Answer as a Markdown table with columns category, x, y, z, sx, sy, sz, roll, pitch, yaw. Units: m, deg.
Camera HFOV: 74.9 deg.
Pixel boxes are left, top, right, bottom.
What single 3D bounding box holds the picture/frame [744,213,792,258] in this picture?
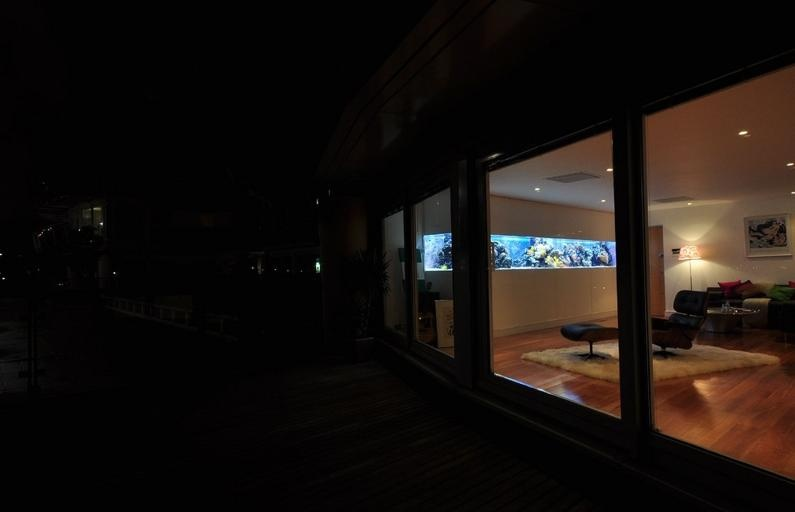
| category | x | y | z | sx | sy | sz | roll | pitch | yaw |
| --- | --- | --- | --- | --- | --- | --- | --- | --- | --- |
| picture/frame | 5.950 | -0.332 | 8.291 | 0.035 | 0.776 | 0.709 | -1 | 0 | -28 |

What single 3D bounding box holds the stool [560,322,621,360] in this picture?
| category | x | y | z | sx | sy | sz | roll | pitch | yaw |
| --- | --- | --- | --- | --- | --- | --- | --- | --- | --- |
| stool | 3.321 | 1.481 | 8.911 | 0.780 | 0.559 | 1.076 | -3 | -4 | -3 |

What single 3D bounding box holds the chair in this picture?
| category | x | y | z | sx | sy | sz | roll | pitch | yaw |
| --- | --- | --- | --- | --- | --- | --- | --- | --- | --- |
| chair | 4.501 | 1.096 | 8.664 | 1.135 | 1.016 | 0.754 | 4 | -1 | -17 |

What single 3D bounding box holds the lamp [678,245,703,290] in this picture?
| category | x | y | z | sx | sy | sz | roll | pitch | yaw |
| --- | --- | --- | --- | --- | --- | --- | --- | --- | --- |
| lamp | 5.142 | 0.198 | 9.184 | 0.564 | 0.631 | 0.197 | -1 | 0 | -30 |

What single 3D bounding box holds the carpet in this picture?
| category | x | y | z | sx | sy | sz | roll | pitch | yaw |
| --- | --- | --- | --- | --- | --- | --- | --- | --- | --- |
| carpet | 4.104 | 1.699 | 8.557 | 3.751 | 0.440 | 1.737 | -1 | 0 | 1 |
